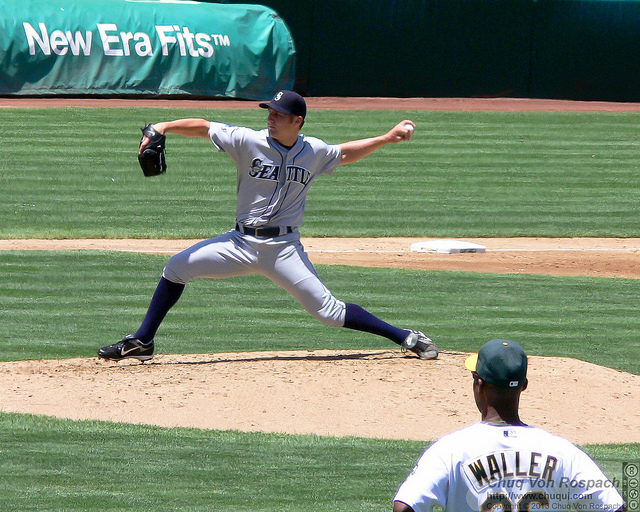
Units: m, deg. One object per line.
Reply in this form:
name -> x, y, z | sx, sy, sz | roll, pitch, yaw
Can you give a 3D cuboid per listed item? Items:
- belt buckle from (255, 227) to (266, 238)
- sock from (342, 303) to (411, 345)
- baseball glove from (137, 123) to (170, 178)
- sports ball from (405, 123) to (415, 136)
belt buckle -> -0.734, -0.299, 20.816 | 0.171, 0.134, 0.040 | 1, 3, -2
sock -> 0.688, 0.891, 21.156 | 1.173, 0.271, 0.216 | 23, 24, -2
baseball glove -> -2.036, -1.282, 20.767 | 0.333, 0.624, 0.269 | 4, 12, -5
sports ball -> 1.107, -1.583, 21.159 | 0.158, 0.129, 0.126 | 0, -2, -4
